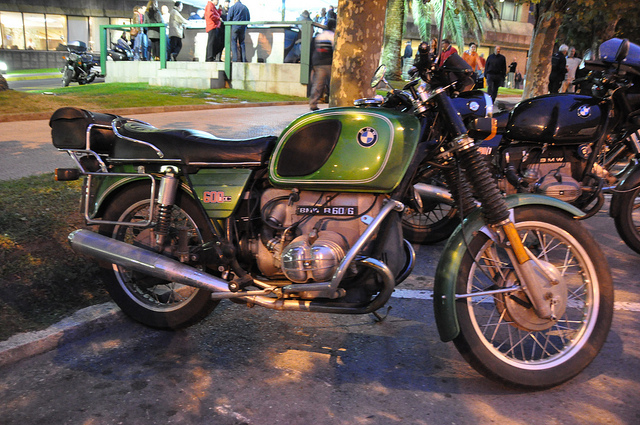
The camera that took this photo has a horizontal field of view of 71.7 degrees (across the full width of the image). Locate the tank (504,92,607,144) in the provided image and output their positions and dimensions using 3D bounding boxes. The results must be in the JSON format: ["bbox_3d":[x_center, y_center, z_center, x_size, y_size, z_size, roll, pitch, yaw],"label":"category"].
[{"bbox_3d":[2.709,-1.085,5.081,1.177,0.489,0.369,2,-16,10],"label":"tank"}]

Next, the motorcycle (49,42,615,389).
[{"bbox_3d":[0.024,0.043,3.473,4.493,1.468,1.296,6,12,16],"label":"motorcycle"}]

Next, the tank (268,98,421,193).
[{"bbox_3d":[0.164,-0.451,3.181,1.014,0.607,0.349,6,21,11],"label":"tank"}]

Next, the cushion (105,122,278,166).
[{"bbox_3d":[-0.999,-0.513,3.438,1.071,0.160,0.466,0,10,5],"label":"cushion"}]
